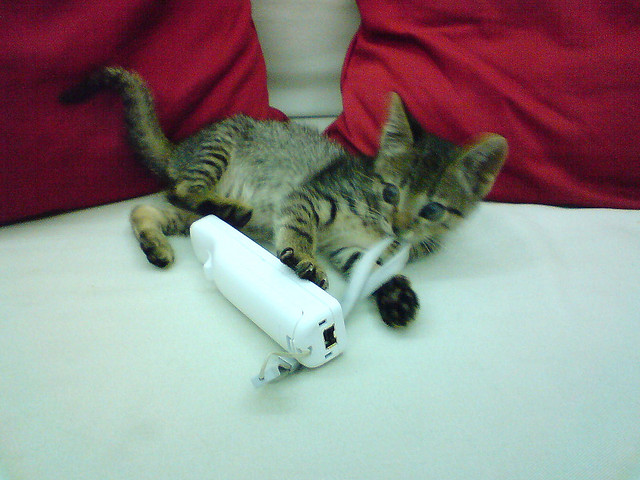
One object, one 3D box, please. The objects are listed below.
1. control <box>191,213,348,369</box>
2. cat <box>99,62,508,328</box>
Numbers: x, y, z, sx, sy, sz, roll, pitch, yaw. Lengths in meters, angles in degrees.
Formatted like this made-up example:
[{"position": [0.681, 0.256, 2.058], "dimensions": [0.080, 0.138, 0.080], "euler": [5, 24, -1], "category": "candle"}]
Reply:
[{"position": [-0.128, 0.090, 1.319], "dimensions": [0.132, 0.141, 0.392], "euler": [-29, 49, -33], "category": "control"}, {"position": [-0.020, -0.092, 1.527], "dimensions": [1.017, 0.564, 0.409], "euler": [20, 18, 14], "category": "cat"}]
